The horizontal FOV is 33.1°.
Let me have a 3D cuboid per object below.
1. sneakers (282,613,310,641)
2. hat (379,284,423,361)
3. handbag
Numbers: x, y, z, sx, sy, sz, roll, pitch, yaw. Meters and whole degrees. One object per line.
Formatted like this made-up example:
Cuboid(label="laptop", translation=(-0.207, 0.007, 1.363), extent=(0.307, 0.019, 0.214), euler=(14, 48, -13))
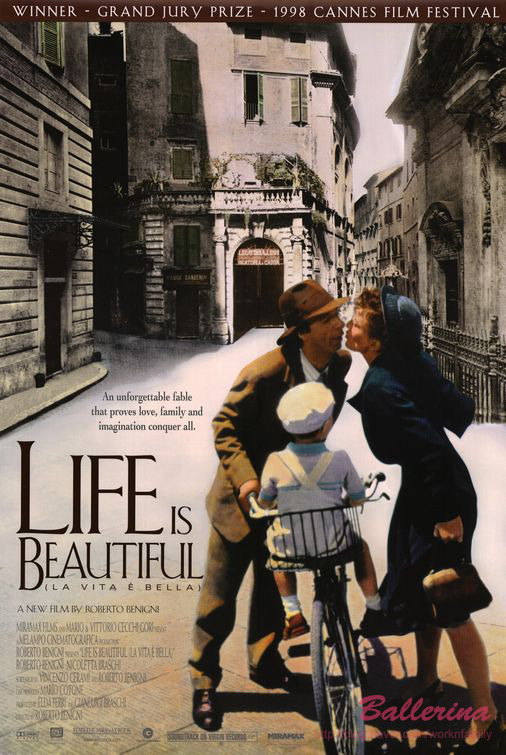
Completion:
Cuboid(label="sneakers", translation=(0.259, 1.573, 5.414), extent=(0.110, 0.169, 0.230), euler=(-9, -5, -15))
Cuboid(label="hat", translation=(1.018, -0.356, 5.802), extent=(0.140, 0.463, 0.354), euler=(-6, -5, 22))
Cuboid(label="handbag", translation=(1.332, 1.431, 5.592), extent=(0.440, 0.278, 0.153), euler=(-2, 1, -19))
